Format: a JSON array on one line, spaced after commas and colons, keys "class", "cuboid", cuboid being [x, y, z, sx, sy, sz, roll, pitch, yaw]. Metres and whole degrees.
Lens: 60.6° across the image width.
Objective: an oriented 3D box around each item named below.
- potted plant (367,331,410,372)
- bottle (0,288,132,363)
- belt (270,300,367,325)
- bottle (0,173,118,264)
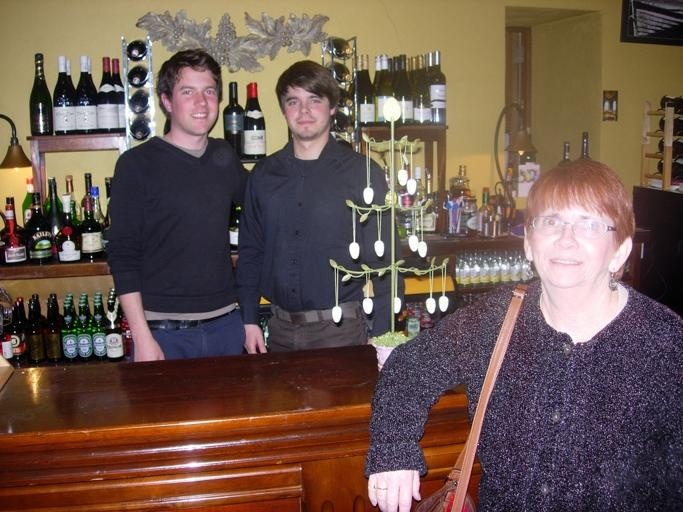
[{"class": "potted plant", "cuboid": [0.146, 0.287, 1.793, 0.107, 0.088, 0.115, 0, 1, -23]}, {"class": "bottle", "cuboid": [-1.390, 0.368, 2.971, 0.394, 0.306, 0.086, 0, 4, 2]}, {"class": "belt", "cuboid": [-0.103, 0.227, 2.460, 0.406, 0.106, 0.091, 3, 15, 10]}, {"class": "bottle", "cuboid": [-1.459, -0.183, 3.013, 0.246, 0.430, 0.420, 5, 8, 43]}]
